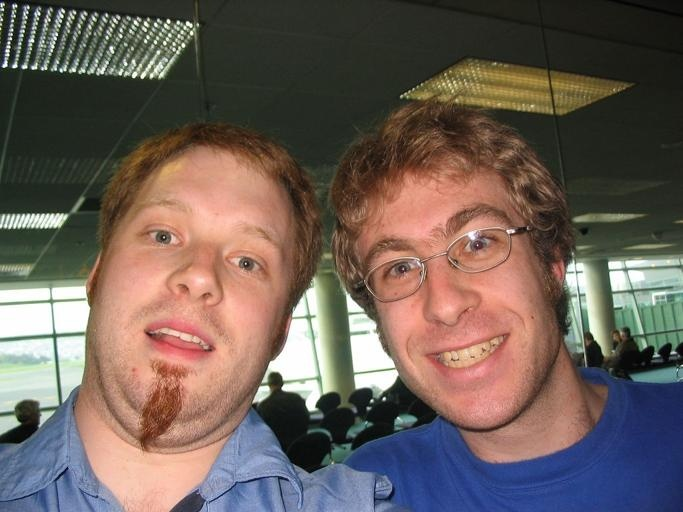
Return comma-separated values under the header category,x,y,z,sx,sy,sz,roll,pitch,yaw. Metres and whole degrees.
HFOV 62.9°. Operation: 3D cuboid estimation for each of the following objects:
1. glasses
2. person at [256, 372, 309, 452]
category,x,y,z,sx,sy,sz,roll,pitch,yaw
glasses,0.460,0.036,2.315,0.493,0.071,0.117,-19,27,6
person,-0.732,2.040,7.337,0.625,1.178,0.552,-8,26,-8
